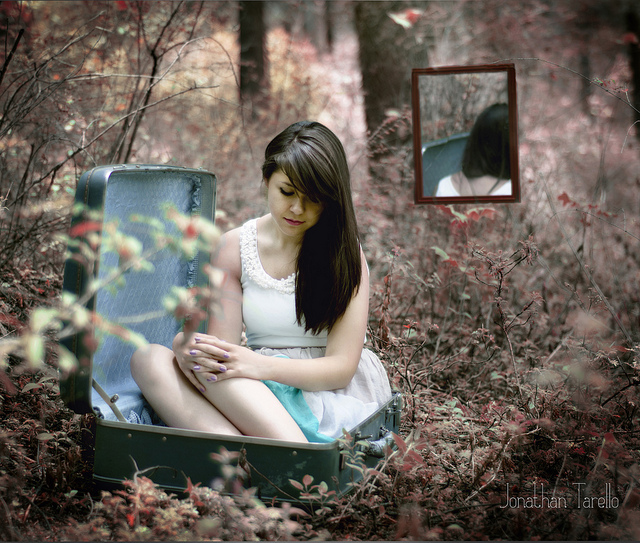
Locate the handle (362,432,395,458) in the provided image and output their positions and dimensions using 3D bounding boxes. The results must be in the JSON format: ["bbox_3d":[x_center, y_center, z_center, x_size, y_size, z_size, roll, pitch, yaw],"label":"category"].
[{"bbox_3d":[0.229,0.642,2.470,0.078,0.056,0.125,-22,3,46],"label":"handle"}]

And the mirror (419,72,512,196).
[{"bbox_3d":[0.774,-0.709,3.444,0.618,0.849,0.058,-6,-12,27],"label":"mirror"}]

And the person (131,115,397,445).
[{"bbox_3d":[-0.230,0.079,2.685,1.072,1.342,0.937,0,4,-1],"label":"person"}]

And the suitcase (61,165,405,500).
[{"bbox_3d":[-0.229,0.125,2.700,1.345,1.249,1.348,-4,8,17],"label":"suitcase"}]
